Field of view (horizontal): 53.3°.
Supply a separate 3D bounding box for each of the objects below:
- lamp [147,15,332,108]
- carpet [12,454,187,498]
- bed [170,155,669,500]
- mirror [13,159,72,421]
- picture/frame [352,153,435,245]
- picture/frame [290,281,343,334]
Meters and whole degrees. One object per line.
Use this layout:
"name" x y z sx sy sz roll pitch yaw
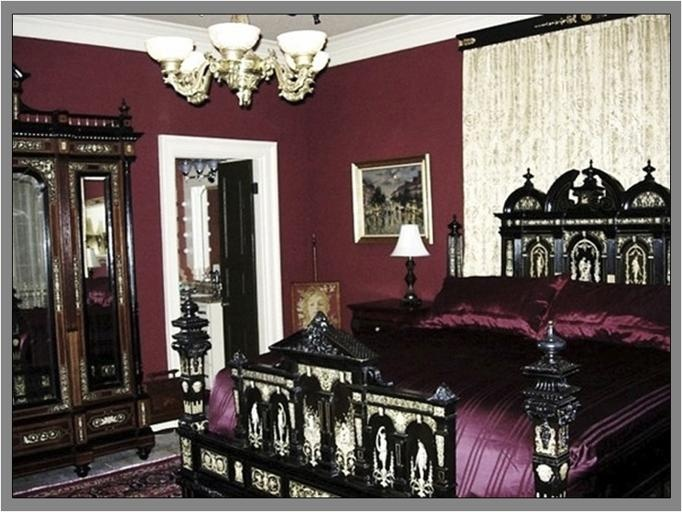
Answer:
"lamp" -0.648 -1.189 4.317 1.108 0.469 0.520 -1 2 -2
"carpet" -1.671 1.664 4.958 1.090 0.077 0.723 -2 2 -23
"bed" 0.952 0.531 4.504 2.361 1.903 3.183 4 7 40
"mirror" -2.304 0.248 5.193 0.375 1.776 0.106 -2 3 -26
"picture/frame" 0.539 -0.575 6.683 0.071 0.871 0.930 -6 6 -44
"picture/frame" -0.227 0.455 6.343 0.549 0.571 0.056 -1 -2 8
